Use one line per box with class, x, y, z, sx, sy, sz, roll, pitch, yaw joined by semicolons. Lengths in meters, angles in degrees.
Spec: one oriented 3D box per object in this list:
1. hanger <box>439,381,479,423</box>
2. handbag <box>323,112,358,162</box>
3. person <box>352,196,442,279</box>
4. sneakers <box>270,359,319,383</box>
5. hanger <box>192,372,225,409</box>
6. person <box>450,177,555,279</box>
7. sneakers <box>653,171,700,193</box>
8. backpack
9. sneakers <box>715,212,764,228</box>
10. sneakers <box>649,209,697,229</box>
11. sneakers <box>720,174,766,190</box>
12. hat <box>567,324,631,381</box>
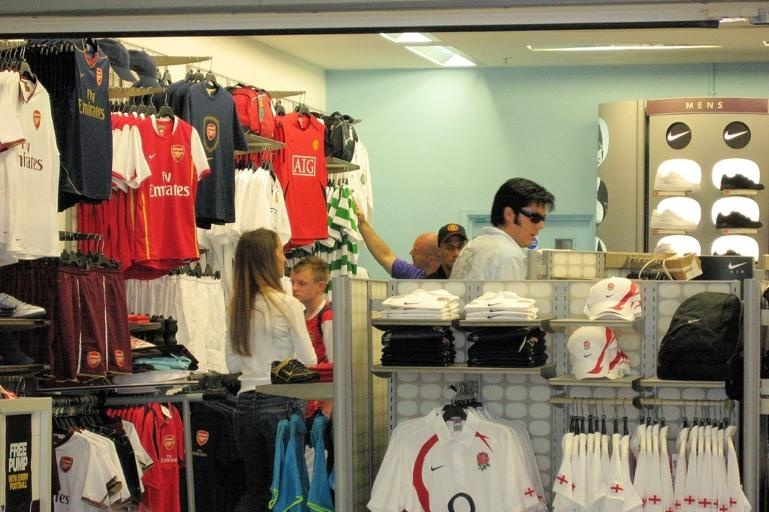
hanger;0.515;0.959;6.525;0.169;0.132;0.289;-1;1;15
handbag;-0.401;-1.175;9.750;0.422;0.560;0.455;0;1;18
person;0.180;-0.069;9.681;1.174;0.452;0.377;18;14;38
sneakers;-0.616;0.767;6.652;0.336;0.141;0.142;-2;-6;12
hanger;-1.246;0.953;6.973;0.270;0.137;0.209;1;7;23
person;0.830;-0.144;7.059;0.587;0.811;0.793;4;0;-13
sneakers;2.717;-0.684;9.019;0.463;0.207;0.177;0;1;7
backpack;1.970;0.563;6.331;0.573;0.600;0.427;-1;-33;15
sneakers;3.532;-0.374;9.840;0.480;0.203;0.164;0;-1;4
sneakers;2.562;-0.338;8.731;0.377;0.196;0.207;-1;-3;17
sneakers;3.498;-0.733;9.639;0.437;0.183;0.161;0;-1;2
hat;1.364;0.620;6.415;0.238;0.243;0.419;-10;5;9
